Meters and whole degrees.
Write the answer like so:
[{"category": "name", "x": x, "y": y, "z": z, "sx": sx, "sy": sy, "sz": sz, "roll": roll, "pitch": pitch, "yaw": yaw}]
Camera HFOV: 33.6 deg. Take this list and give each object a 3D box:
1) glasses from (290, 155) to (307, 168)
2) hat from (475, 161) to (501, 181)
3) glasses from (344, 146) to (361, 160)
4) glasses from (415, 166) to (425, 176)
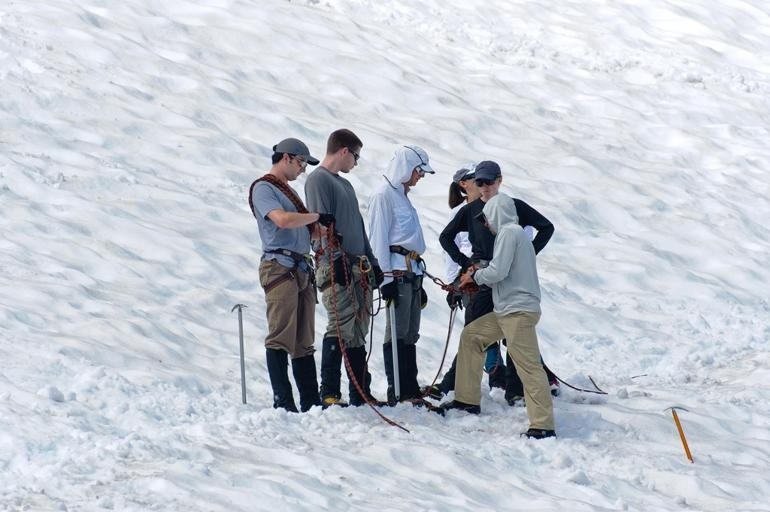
[{"category": "glasses", "x": -1.445, "y": -1.579, "z": 21.133, "sx": 0.231, "sy": 0.061, "sz": 0.217, "roll": 22, "pitch": 7, "yaw": 24}, {"category": "hat", "x": 1.740, "y": -1.431, "z": 21.498, "sx": 0.441, "sy": 0.360, "sz": 0.355, "roll": 9, "pitch": 51, "yaw": 0}, {"category": "glasses", "x": -0.548, "y": -1.747, "z": 21.537, "sx": 0.187, "sy": 0.055, "sz": 0.189, "roll": 43, "pitch": 10, "yaw": 10}, {"category": "glasses", "x": 0.602, "y": -1.464, "z": 21.897, "sx": 0.134, "sy": 0.146, "sz": 0.132, "roll": 9, "pitch": 35, "yaw": -2}]
